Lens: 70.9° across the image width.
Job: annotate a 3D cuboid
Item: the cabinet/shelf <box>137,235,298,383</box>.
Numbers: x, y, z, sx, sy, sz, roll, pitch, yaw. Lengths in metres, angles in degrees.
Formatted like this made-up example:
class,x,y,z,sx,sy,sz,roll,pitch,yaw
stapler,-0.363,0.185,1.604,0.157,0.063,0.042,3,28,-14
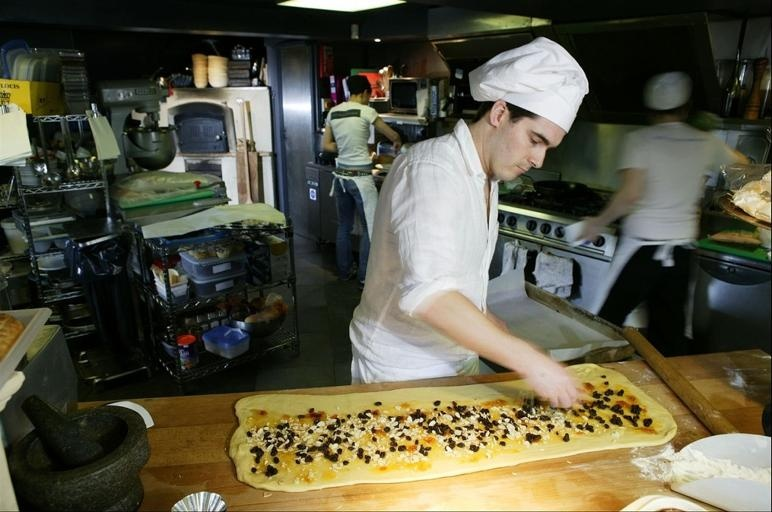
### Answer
class,x,y,z,sx,sy,sz,roll,pitch,yaw
cabinet/shelf,-1.279,0.400,4.022,0.964,1.031,0.422,-10,21,-31

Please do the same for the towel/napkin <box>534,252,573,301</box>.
class,x,y,z,sx,sy,sz,roll,pitch,yaw
towel/napkin,1.381,0.140,4.451,0.392,0.375,0.129,14,17,31

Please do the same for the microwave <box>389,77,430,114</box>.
class,x,y,z,sx,sy,sz,roll,pitch,yaw
microwave,0.274,-1.772,5.989,0.326,0.354,0.504,-5,12,-32

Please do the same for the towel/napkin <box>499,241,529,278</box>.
class,x,y,z,sx,sy,sz,roll,pitch,yaw
towel/napkin,1.086,0.021,4.544,0.080,0.279,0.282,-6,14,-32

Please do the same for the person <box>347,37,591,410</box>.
class,x,y,z,sx,sy,sz,roll,pitch,yaw
person,0.288,-0.099,2.312,1.028,1.531,0.674,0,19,12

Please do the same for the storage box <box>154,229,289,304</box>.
class,x,y,z,sx,sy,sz,roll,pitch,yaw
storage box,-1.256,-0.109,4.063,0.819,0.399,0.565,-9,14,-33

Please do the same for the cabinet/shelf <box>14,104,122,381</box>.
class,x,y,z,sx,sy,sz,roll,pitch,yaw
cabinet/shelf,-2.342,-0.188,4.095,0.796,1.750,1.265,-13,21,-27

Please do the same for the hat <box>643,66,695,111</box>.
class,x,y,z,sx,sy,sz,roll,pitch,yaw
hat,1.860,-1.078,3.552,0.269,0.239,0.213,1,19,15

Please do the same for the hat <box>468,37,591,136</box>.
class,x,y,z,sx,sy,sz,roll,pitch,yaw
hat,0.561,-0.709,2.304,0.483,0.262,0.332,33,54,22

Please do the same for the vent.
class,x,y,z,sx,sy,sz,roll,pitch,yaw
vent,1.374,-1.410,3.999,2.247,0.628,0.651,-8,24,-9

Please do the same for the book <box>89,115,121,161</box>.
class,x,y,z,sx,sy,sz,roll,pitch,yaw
book,-1.971,-0.836,3.811,0.100,0.356,0.201,-11,6,33
